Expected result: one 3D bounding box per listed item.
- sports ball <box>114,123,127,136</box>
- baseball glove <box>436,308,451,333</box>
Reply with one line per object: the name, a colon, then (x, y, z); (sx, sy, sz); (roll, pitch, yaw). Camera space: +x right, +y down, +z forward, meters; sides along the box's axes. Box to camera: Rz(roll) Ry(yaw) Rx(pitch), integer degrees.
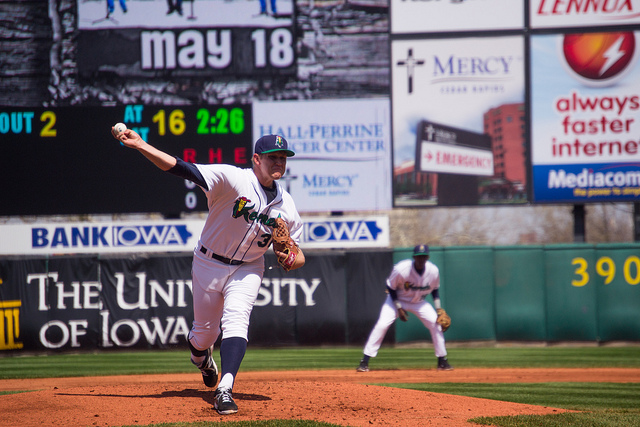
sports ball: (-3.511, -1.453, 23.138); (0.197, 0.218, 0.205); (-1, -2, 0)
baseball glove: (2.465, 2.092, 26.377); (0.306, 0.460, 0.238); (-11, 1, 9)
